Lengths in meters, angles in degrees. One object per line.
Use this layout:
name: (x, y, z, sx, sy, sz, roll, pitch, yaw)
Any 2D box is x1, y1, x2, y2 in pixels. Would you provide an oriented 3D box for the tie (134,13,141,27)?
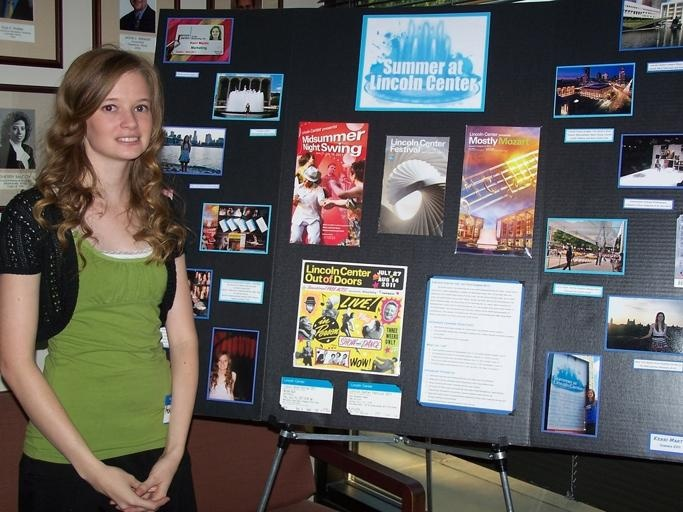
tie: (-0.976, -1.118, 2.884, 0.044, 0.059, 0.014, 2, 4, -10)
